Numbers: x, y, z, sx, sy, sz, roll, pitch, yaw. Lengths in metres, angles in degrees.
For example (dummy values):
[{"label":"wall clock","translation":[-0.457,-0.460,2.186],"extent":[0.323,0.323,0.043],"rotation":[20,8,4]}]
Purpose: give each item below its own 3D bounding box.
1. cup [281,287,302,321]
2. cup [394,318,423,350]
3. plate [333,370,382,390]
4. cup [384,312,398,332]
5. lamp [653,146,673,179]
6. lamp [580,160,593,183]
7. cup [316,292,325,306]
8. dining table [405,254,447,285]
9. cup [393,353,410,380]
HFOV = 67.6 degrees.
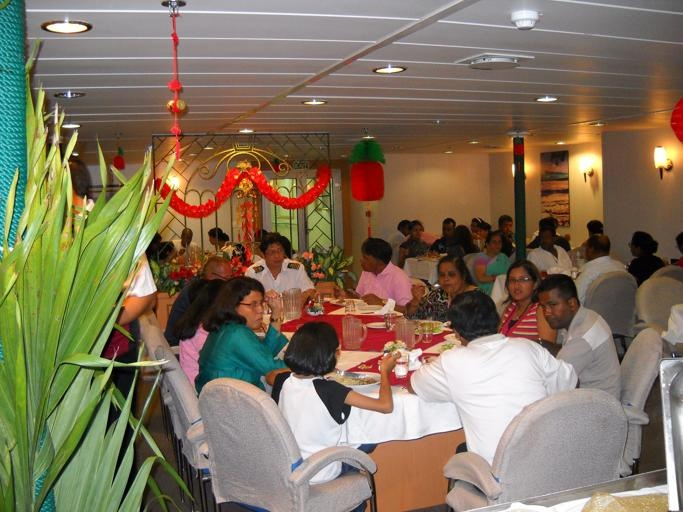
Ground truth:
[{"label":"cup","translation":[-0.404,0.392,4.177],"extent":[0.239,0.332,0.217],"rotation":[-1,-9,1]},{"label":"cup","translation":[0.464,0.483,3.262],"extent":[0.227,0.219,0.143],"rotation":[0,2,12]},{"label":"plate","translation":[0.078,0.641,2.628],"extent":[0.239,0.076,0.258],"rotation":[-1,0,3]},{"label":"cup","translation":[0.362,0.480,3.788],"extent":[0.112,0.132,0.114],"rotation":[-1,-2,0]},{"label":"lamp","translation":[5.016,-1.489,8.009],"extent":[0.168,0.508,0.290],"rotation":[-1,0,-22]},{"label":"lamp","translation":[4.844,-1.691,10.031],"extent":[0.063,0.266,0.302],"rotation":[-1,0,-22]},{"label":"cup","translation":[-0.185,0.385,4.631],"extent":[0.096,0.145,0.090],"rotation":[-3,5,0]},{"label":"dining table","translation":[1.414,0.190,8.382],"extent":[0.527,0.249,0.516],"rotation":[0,3,-9]},{"label":"cup","translation":[0.330,0.590,2.798],"extent":[0.083,0.111,0.199],"rotation":[-1,0,6]}]
